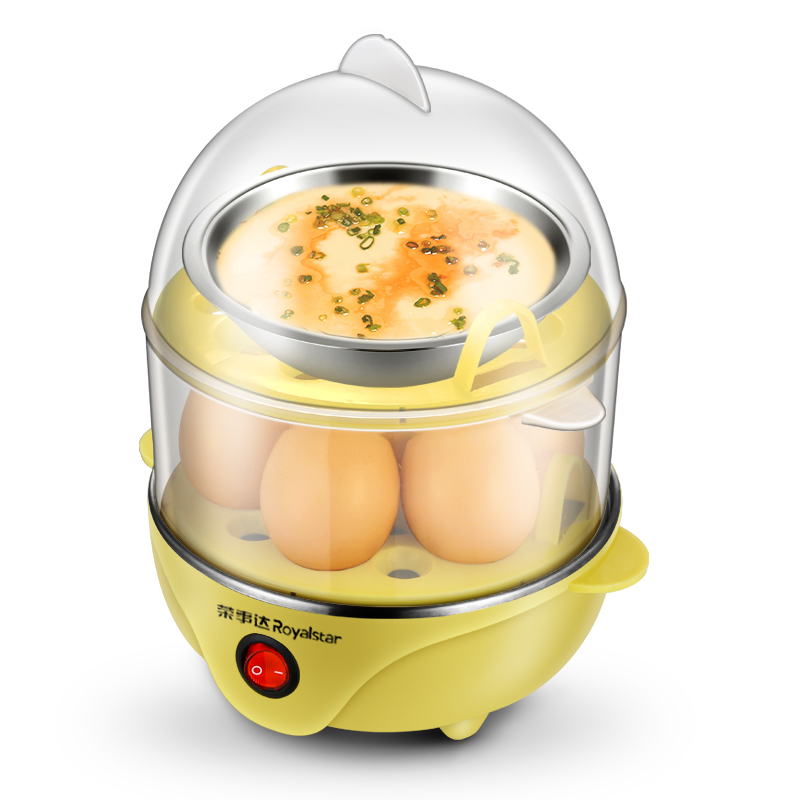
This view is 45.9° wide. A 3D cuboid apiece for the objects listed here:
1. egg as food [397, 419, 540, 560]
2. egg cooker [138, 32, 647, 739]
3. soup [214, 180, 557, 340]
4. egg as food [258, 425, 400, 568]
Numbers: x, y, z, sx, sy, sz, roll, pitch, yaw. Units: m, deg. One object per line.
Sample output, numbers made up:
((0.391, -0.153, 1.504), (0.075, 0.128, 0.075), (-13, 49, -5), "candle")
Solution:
((0.127, 0.183, 1.829), (0.294, 0.251, 0.244), (-4, 2, -6), "egg as food")
((-0.140, 0.110, 2.072), (0.975, 1.609, 0.941), (16, 36, 13), "egg cooker")
((-0.028, -0.296, 1.886), (0.618, 0.328, 0.634), (-5, 9, -43), "soup")
((-0.132, 0.198, 1.824), (0.308, 0.258, 0.259), (5, 2, 3), "egg as food")
